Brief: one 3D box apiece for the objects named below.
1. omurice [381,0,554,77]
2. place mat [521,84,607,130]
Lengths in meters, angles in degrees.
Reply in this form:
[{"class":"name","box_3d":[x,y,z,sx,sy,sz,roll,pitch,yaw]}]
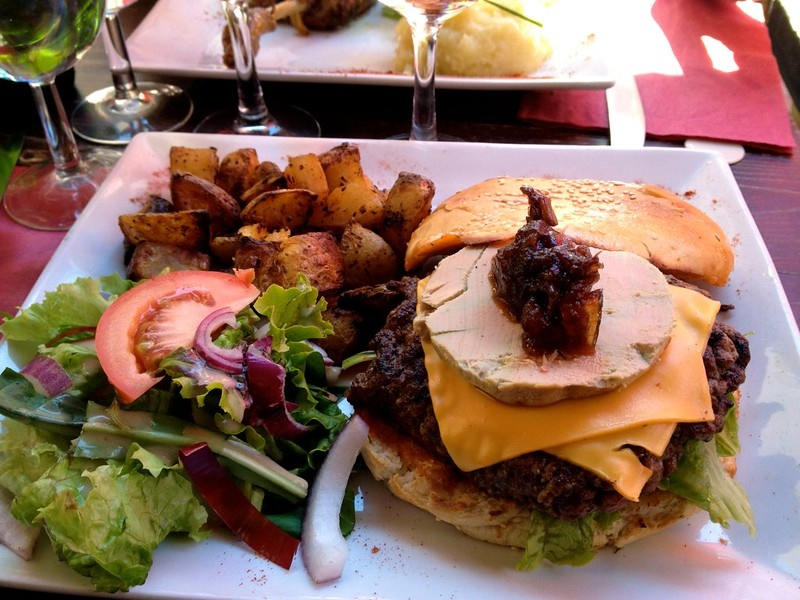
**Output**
[{"class":"omurice","box_3d":[0.495,-1.333,3.584,0.648,0.230,0.371,-11,53,-9]},{"class":"place mat","box_3d":[0.863,-0.989,3.608,0.327,0.085,0.314,5,46,8]}]
